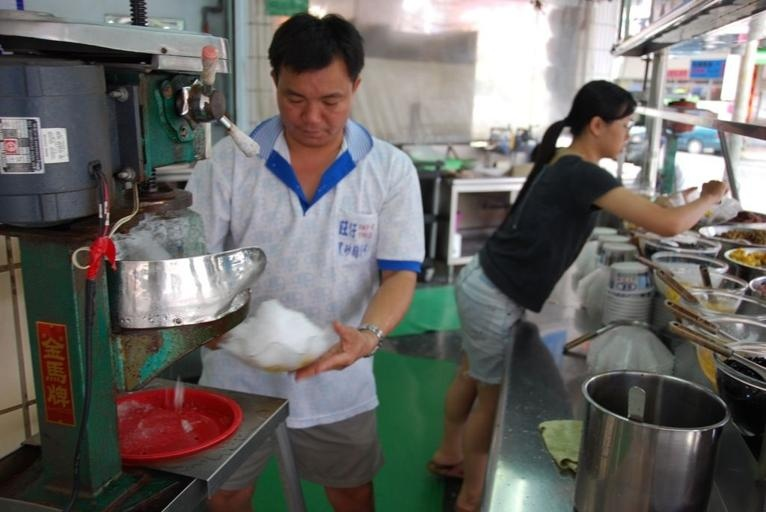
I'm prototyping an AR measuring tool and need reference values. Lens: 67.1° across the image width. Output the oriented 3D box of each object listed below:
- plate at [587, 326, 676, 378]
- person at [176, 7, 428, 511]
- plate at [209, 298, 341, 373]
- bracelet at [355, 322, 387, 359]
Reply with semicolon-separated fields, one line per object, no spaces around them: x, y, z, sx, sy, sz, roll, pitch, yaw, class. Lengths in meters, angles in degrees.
0.823;0.311;1.925;0.222;0.125;0.212;-3;11;-16;plate
-0.222;0.171;1.925;0.778;1.849;0.617;-3;14;-15;person
-0.279;0.220;1.584;0.251;0.087;0.205;4;14;-2;plate
-0.033;0.263;1.777;0.090;0.099;0.040;22;20;34;bracelet
